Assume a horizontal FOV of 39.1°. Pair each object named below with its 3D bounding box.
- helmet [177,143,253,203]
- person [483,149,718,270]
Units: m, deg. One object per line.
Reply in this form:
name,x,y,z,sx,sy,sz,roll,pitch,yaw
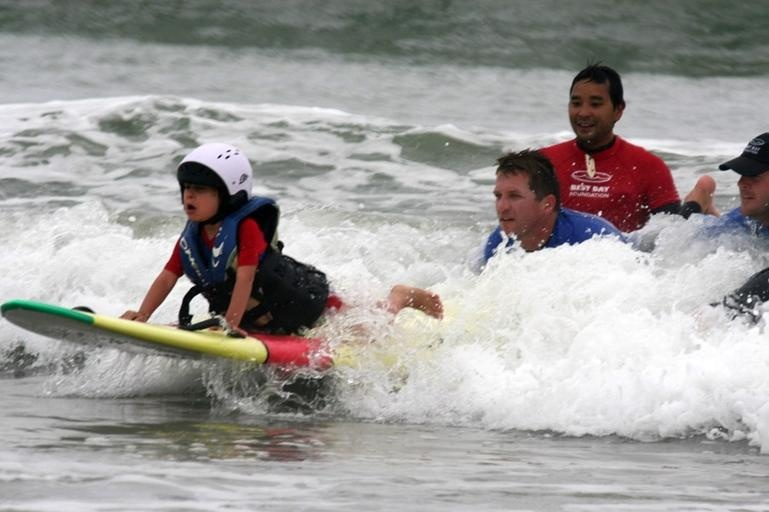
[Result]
helmet,-1.425,-0.709,9.414,0.686,0.387,0.528,1,0,-36
person,1.458,-0.389,9.576,1.059,0.850,1.561,2,-2,-45
